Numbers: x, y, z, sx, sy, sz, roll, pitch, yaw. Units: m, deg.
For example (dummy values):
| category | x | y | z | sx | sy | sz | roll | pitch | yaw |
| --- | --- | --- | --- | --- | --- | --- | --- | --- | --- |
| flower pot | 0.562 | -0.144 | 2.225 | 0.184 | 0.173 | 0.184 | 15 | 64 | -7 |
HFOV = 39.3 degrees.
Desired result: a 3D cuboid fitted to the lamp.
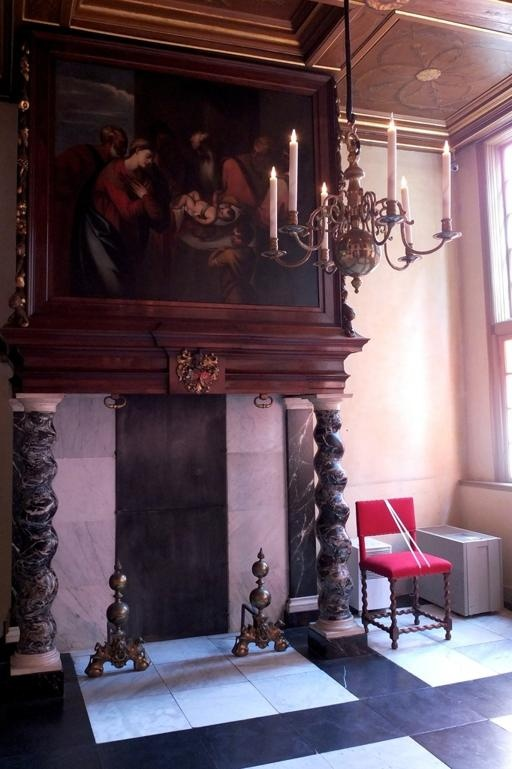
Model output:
| category | x | y | z | sx | sy | sz | roll | pitch | yaw |
| --- | --- | --- | --- | --- | --- | --- | --- | --- | --- |
| lamp | 0.491 | -1.551 | 4.229 | 0.884 | 2.245 | 2.000 | 0 | -1 | 1 |
